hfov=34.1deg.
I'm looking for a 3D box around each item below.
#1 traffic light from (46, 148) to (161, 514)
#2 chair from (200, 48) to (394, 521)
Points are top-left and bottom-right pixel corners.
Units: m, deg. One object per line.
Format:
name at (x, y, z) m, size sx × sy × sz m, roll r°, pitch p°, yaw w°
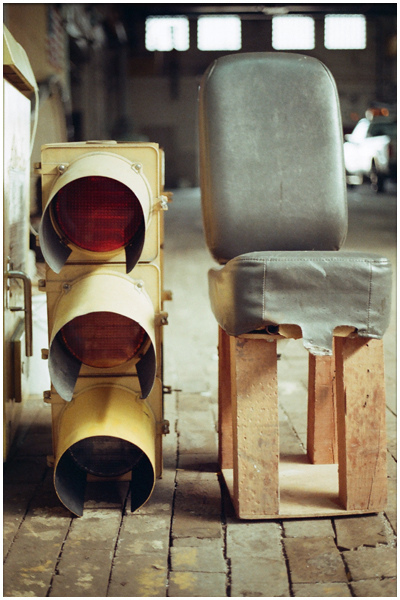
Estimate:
traffic light at (-0.292, 0.103, 1.882) m, size 0.379 × 1.064 × 0.298 m, roll -2°, pitch 12°, yaw -4°
chair at (0.258, -0.096, 2.086) m, size 0.497 × 1.368 × 0.952 m, roll -1°, pitch 12°, yaw 0°
